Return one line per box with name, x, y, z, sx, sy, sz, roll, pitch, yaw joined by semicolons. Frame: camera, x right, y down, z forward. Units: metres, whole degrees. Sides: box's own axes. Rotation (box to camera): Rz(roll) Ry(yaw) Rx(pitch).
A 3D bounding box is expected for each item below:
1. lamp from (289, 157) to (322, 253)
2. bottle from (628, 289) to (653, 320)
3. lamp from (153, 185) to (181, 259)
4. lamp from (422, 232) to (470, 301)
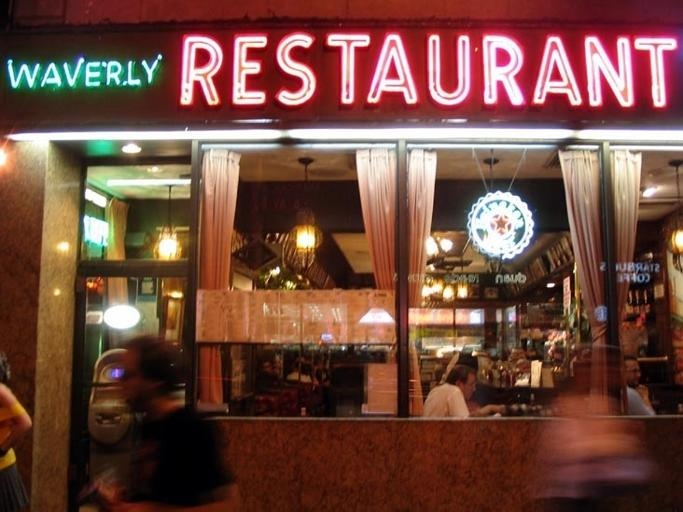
lamp;-0.406;-0.571;7.394;0.263;1.069;0.181;-2;-8;9
bottle;3.208;0.516;7.171;0.284;0.338;0.169;0;-3;-27
lamp;-2.018;-0.409;7.778;0.185;0.897;0.372;6;-11;-43
lamp;1.122;0.097;7.194;0.585;0.755;0.159;2;-8;-11
